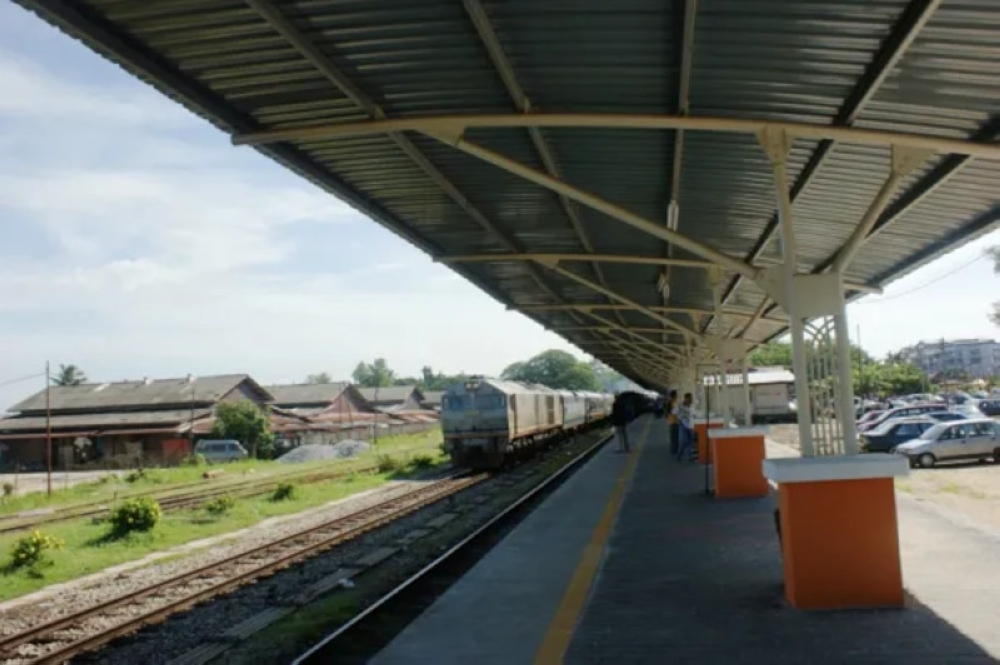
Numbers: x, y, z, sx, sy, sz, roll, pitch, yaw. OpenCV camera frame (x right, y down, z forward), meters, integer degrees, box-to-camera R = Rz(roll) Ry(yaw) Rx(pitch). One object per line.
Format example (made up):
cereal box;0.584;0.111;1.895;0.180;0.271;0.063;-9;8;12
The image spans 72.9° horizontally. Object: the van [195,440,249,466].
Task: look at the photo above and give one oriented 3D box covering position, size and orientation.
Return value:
van;-15.405;6.621;37.473;3.257;1.028;1.061;-1;-3;1
